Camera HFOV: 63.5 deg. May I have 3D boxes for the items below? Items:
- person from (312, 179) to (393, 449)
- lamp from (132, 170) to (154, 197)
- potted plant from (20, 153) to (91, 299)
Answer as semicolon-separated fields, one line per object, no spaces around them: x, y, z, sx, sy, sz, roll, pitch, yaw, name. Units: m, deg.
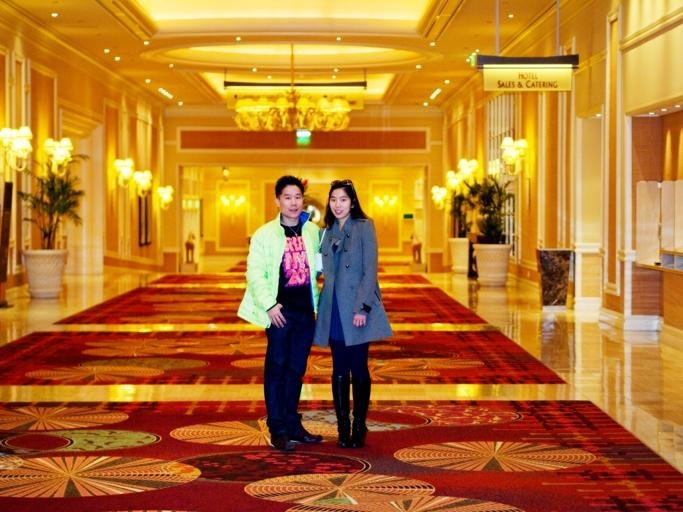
0.068;0.348;3.392;0.472;1.649;0.315;1;4;18;person
-6.400;-2.385;17.701;0.865;0.985;0.707;2;-2;-25;lamp
-5.613;-0.610;10.993;1.463;2.616;1.335;1;1;-19;potted plant
